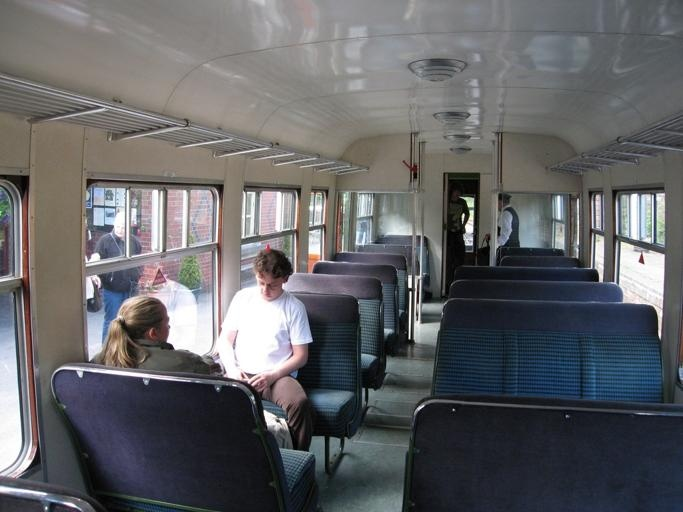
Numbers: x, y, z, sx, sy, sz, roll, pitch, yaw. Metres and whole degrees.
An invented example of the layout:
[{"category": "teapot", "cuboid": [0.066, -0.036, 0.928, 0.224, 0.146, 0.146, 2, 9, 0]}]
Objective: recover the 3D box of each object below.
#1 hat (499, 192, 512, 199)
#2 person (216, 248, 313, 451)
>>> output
[{"category": "hat", "cuboid": [2.914, -1.058, 8.813, 0.188, 0.134, 0.186, 1, 4, 15]}, {"category": "person", "cuboid": [-0.583, 0.700, 4.163, 1.088, 1.510, 0.606, 2, 3, 41]}]
